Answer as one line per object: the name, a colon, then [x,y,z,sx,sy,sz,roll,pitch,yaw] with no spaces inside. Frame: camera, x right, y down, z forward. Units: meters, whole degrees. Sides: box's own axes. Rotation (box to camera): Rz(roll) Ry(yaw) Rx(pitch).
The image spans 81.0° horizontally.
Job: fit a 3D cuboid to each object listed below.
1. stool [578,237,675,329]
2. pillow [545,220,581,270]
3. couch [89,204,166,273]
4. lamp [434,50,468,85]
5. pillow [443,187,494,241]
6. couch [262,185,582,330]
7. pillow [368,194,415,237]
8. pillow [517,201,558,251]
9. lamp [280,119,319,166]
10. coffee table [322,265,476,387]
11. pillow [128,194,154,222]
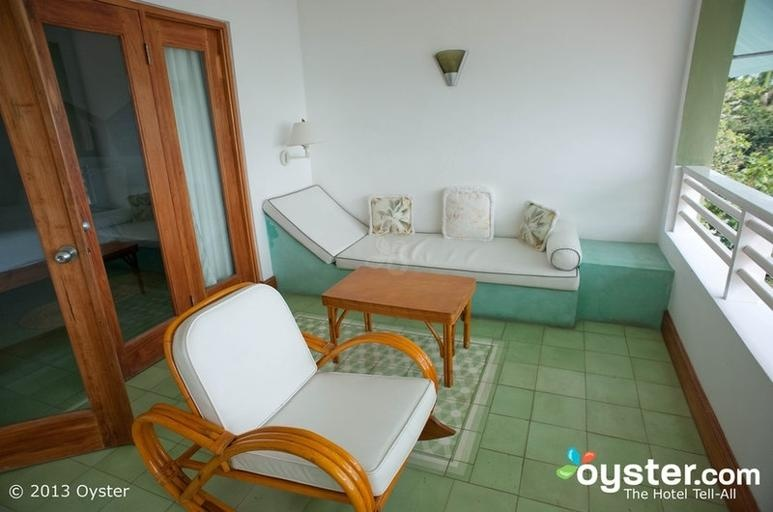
stool: [2.186,0.167,4.172,0.747,0.460,0.742,5,16,26]
pillow: [1.628,-0.141,4.247,0.263,0.256,0.797,-6,24,19]
couch: [-2.027,-0.166,3.648,0.447,0.419,0.450,6,24,-1]
lamp: [0.651,-1.868,4.497,0.295,0.355,0.210,-16,25,-27]
pillow: [0.863,-0.430,4.749,0.561,0.546,0.133,4,4,17]
couch: [0.433,0.014,4.824,3.475,1.220,1.272,6,21,20]
pillow: [0.055,-0.444,5.021,0.464,0.450,0.136,1,5,6]
pillow: [1.471,-0.278,4.414,0.129,0.418,0.415,11,19,-18]
lamp: [-0.928,-1.193,4.889,0.405,0.438,0.403,-4,8,11]
coffee table: [0.118,0.535,3.812,1.111,0.596,0.770,6,20,23]
pillow: [-1.975,-0.389,3.636,0.200,0.201,0.059,-12,12,-43]
